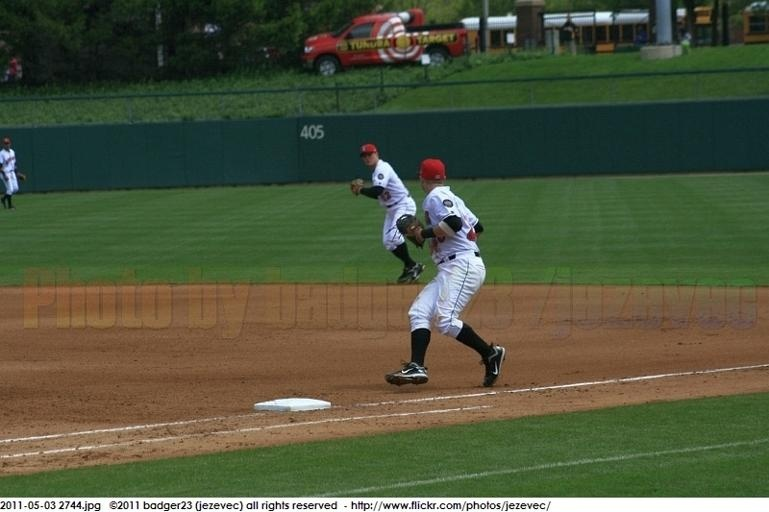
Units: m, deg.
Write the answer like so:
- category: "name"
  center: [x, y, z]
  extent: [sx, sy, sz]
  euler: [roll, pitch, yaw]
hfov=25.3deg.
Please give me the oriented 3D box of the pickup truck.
- category: "pickup truck"
  center: [-0.005, -9.058, 72.823]
  extent: [7.017, 2.342, 2.800]
  euler: [0, 19, 4]

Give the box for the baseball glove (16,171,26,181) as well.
- category: "baseball glove"
  center: [-12.648, -2.865, 60.113]
  extent: [0.179, 0.122, 0.483]
  euler: [2, 17, -40]

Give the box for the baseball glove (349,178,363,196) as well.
- category: "baseball glove"
  center: [-0.833, -1.985, 48.361]
  extent: [0.409, 0.418, 0.507]
  euler: [-2, -5, 18]
